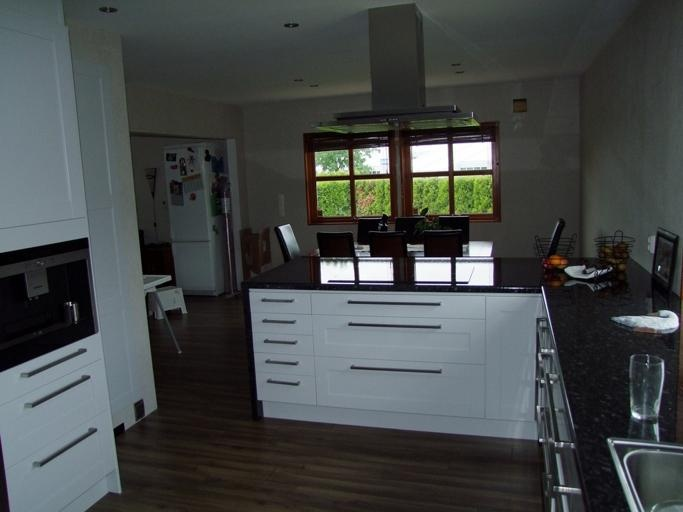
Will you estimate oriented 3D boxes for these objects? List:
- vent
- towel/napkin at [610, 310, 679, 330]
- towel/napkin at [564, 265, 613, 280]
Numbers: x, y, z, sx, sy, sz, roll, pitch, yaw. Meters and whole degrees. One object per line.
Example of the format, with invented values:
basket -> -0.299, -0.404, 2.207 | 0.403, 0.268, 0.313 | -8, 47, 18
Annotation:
vent -> 0.517, -1.605, 4.563 | 1.152, 0.884, 1.023 | 2, 15, 19
towel/napkin -> 1.599, 0.337, 2.647 | 0.298, 0.051, 0.180 | -1, 13, 11
towel/napkin -> 1.741, 0.116, 3.621 | 0.203, 0.056, 0.145 | 7, 14, 41
